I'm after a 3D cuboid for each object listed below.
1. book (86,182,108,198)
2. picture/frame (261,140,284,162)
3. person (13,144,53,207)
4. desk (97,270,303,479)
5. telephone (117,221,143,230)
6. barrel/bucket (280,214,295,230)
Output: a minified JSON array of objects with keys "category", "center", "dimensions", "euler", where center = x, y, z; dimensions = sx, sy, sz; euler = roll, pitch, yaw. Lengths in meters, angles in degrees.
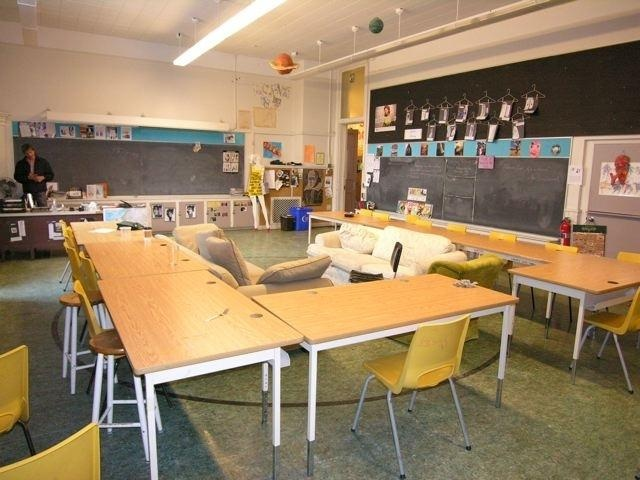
[{"category":"book","center":[-5.270,-1.182,10.208],"dimensions":[0.163,0.327,0.415],"euler":[6,8,40]},{"category":"picture/frame","center":[-1.393,-2.580,12.425],"dimensions":[0.788,0.582,0.103],"euler":[0,8,-24]},{"category":"person","center":[-6.065,-1.399,9.216],"dimensions":[0.716,1.243,1.013],"euler":[-5,15,-30]},{"category":"desk","center":[-0.964,1.004,3.323],"dimensions":[1.035,1.045,1.626],"euler":[-6,14,-32]},{"category":"telephone","center":[-2.829,-0.220,6.488],"dimensions":[0.203,0.067,0.287],"euler":[10,8,40]},{"category":"barrel/bucket","center":[-0.939,-0.494,12.182],"dimensions":[0.435,0.462,0.410],"euler":[1,6,0]}]
